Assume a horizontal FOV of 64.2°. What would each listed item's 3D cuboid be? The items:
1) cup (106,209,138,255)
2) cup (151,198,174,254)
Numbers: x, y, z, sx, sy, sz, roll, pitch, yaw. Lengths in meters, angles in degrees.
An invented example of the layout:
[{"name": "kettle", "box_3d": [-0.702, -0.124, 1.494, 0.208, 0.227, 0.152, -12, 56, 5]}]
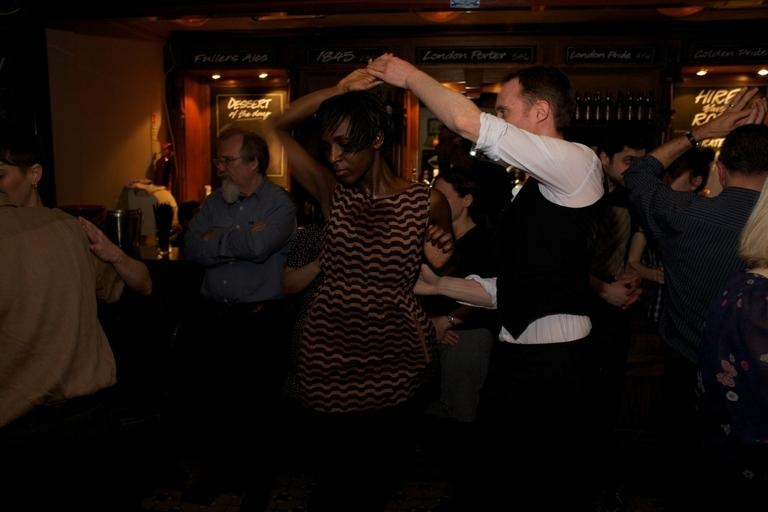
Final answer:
[{"name": "cup", "box_3d": [-2.068, -0.207, 4.840, 0.254, 0.288, 0.200, 0, 8, 3]}, {"name": "cup", "box_3d": [-1.737, -0.215, 4.850, 0.159, 0.417, 0.171, 3, 1, 0]}]
